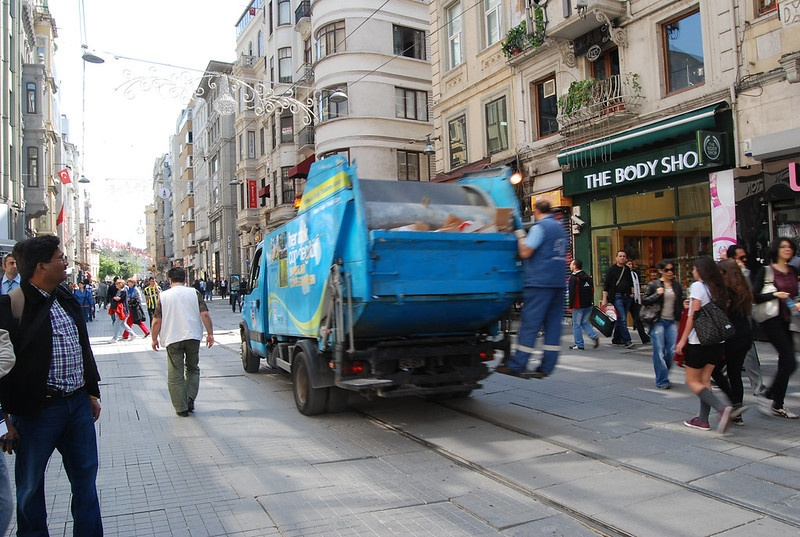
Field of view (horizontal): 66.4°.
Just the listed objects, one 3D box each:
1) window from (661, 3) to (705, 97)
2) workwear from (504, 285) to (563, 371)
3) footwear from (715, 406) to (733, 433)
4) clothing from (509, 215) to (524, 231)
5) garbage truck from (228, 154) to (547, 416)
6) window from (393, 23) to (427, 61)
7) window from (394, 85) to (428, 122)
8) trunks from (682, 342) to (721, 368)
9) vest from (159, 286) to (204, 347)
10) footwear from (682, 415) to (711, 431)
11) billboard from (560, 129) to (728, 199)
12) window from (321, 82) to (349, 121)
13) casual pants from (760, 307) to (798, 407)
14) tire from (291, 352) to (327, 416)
[{"bbox_3d":[6.835,-5.237,14.814,0.309,1.829,1.188,-5,7,-20],"label":"window"},{"bbox_3d":[1.867,0.689,8.275,0.728,1.472,0.489,7,3,-37],"label":"workwear"},{"bbox_3d":[3.978,1.850,7.545,0.154,0.365,0.168,5,12,-23],"label":"footwear"},{"bbox_3d":[1.594,-0.623,8.332,0.206,0.209,0.185,-2,-42,-21],"label":"clothing"},{"bbox_3d":[-0.774,0.560,10.958,3.579,3.156,6.868,2,-5,-29],"label":"garbage truck"},{"bbox_3d":[0.357,-11.224,30.336,2.584,1.586,0.290,5,-13,-28],"label":"window"},{"bbox_3d":[0.416,-8.099,29.985,2.411,1.489,0.304,3,-8,-34],"label":"window"},{"bbox_3d":[3.852,1.082,7.835,0.474,0.308,0.315,-1,6,-5],"label":"trunks"},{"bbox_3d":[-3.274,0.729,9.022,0.863,0.831,0.539,-6,-17,-11],"label":"vest"},{"bbox_3d":[3.787,1.992,7.787,0.109,0.104,0.272,9,-4,-34],"label":"footwear"},{"bbox_3d":[6.353,-2.888,16.134,2.428,1.104,5.512,-12,5,-23],"label":"billboard"},{"bbox_3d":[-3.362,-7.811,29.375,1.716,1.520,0.113,15,22,34],"label":"window"},{"bbox_3d":[5.001,1.263,8.057,0.378,1.271,0.347,2,8,35],"label":"casual pants"},{"bbox_3d":[-1.307,1.665,8.792,0.378,0.916,1.009,-3,-3,-26],"label":"tire"}]
